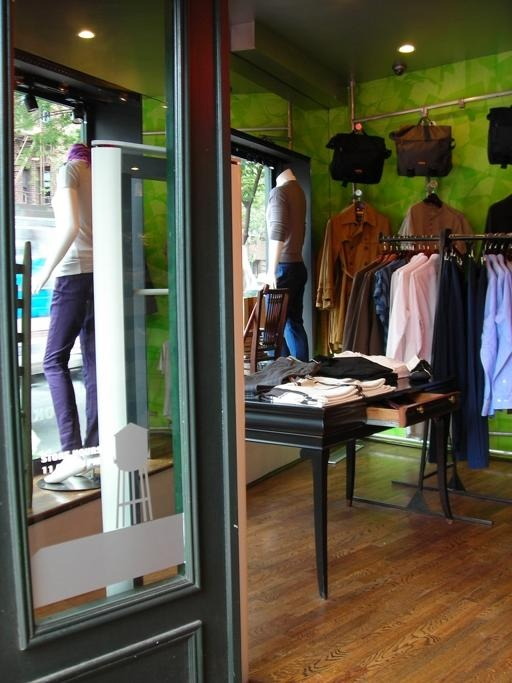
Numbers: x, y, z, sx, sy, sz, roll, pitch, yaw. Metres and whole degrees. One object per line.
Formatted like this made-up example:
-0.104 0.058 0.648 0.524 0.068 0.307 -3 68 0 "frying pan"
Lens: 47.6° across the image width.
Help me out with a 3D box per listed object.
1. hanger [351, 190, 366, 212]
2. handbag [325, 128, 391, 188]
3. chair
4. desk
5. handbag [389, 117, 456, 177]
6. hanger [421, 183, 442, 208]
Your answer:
0.852 -1.158 4.816 0.106 0.242 0.358 0 3 9 "hanger"
0.797 -1.428 4.508 0.482 0.489 0.242 7 0 1 "handbag"
0.068 0.008 4.187 0.277 0.402 0.302 -10 3 34 "chair"
0.477 0.582 2.688 0.684 0.714 1.210 1 2 42 "desk"
1.235 -1.466 4.320 0.445 0.462 0.264 3 19 15 "handbag"
1.367 -1.141 4.467 0.131 0.245 0.267 0 3 23 "hanger"
